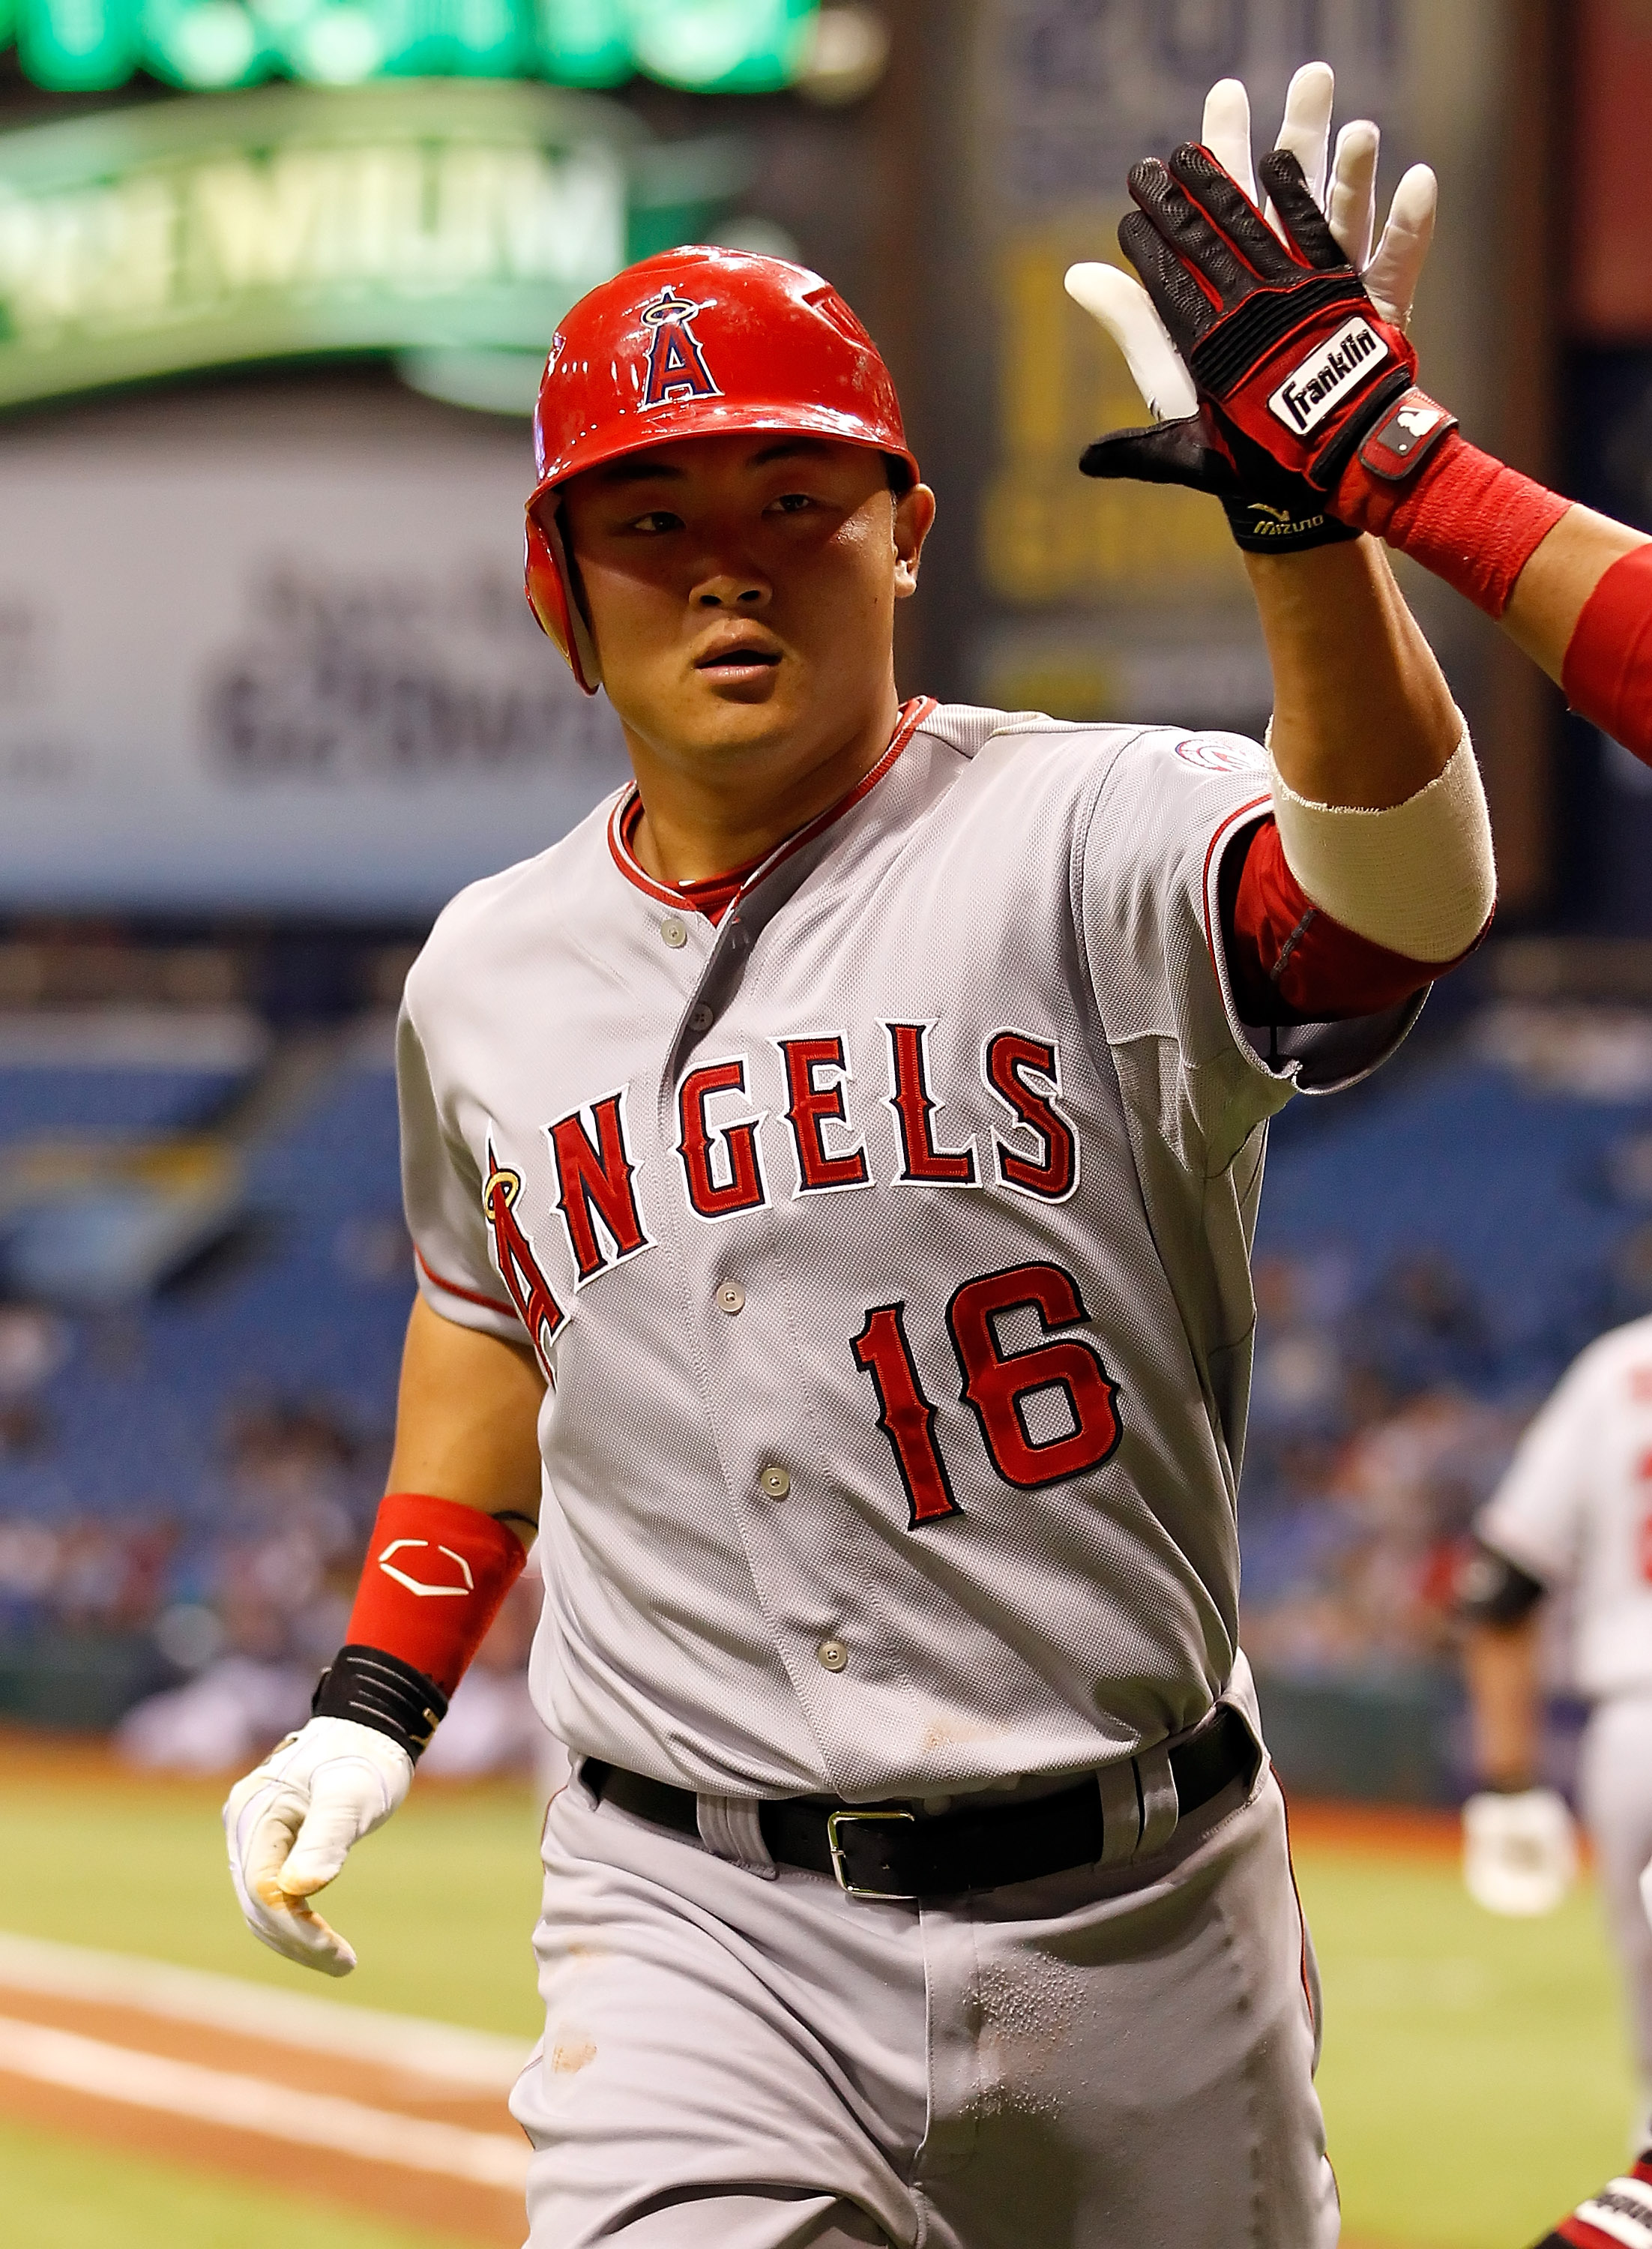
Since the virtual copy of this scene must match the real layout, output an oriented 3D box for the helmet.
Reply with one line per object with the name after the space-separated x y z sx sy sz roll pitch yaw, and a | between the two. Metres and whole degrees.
-0.118 -0.525 2.290 0.277 0.281 0.338 -12 -8 -2 | helmet
